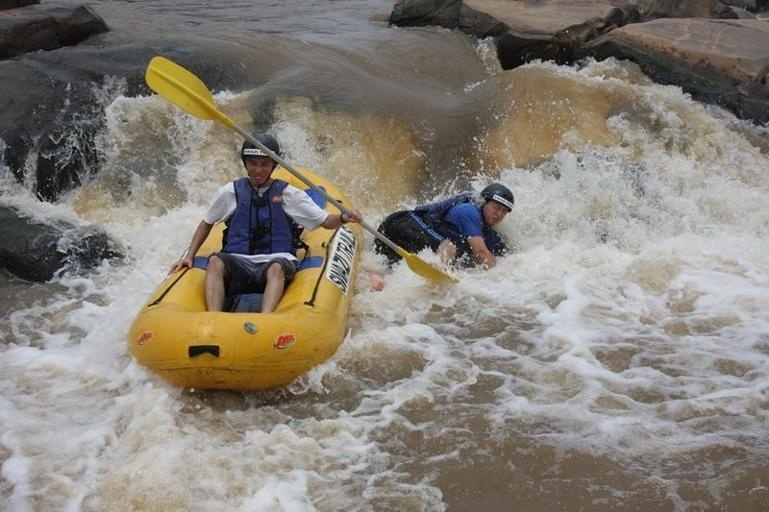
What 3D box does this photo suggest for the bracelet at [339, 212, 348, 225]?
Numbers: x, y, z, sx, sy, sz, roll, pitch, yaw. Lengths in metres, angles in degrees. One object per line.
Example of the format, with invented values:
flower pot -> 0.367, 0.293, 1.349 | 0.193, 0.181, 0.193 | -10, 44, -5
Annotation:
bracelet -> -0.475, -0.428, 9.670 | 0.126, 0.157, 0.053 | 2, 6, -4

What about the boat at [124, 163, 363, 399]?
boat -> -1.333, 0.407, 9.853 | 1.679, 0.913, 2.993 | 16, 36, 5

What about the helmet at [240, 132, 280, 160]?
helmet -> -1.415, -1.193, 9.692 | 0.303, 0.383, 0.350 | -1, 59, -15

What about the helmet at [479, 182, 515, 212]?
helmet -> 1.436, -0.715, 10.775 | 0.307, 0.295, 0.384 | 28, 10, -21
